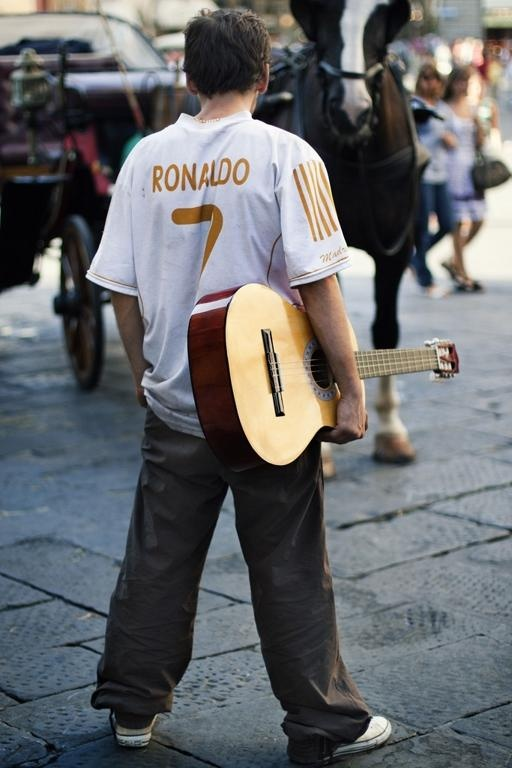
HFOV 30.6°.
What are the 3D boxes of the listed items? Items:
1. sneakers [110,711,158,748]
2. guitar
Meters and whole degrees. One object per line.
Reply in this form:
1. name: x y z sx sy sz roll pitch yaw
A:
1. sneakers: -0.294 0.787 2.165 0.053 0.059 0.144 0 1 1
2. guitar: 0.042 -0.026 1.900 0.363 0.353 0.179 -7 13 -24
